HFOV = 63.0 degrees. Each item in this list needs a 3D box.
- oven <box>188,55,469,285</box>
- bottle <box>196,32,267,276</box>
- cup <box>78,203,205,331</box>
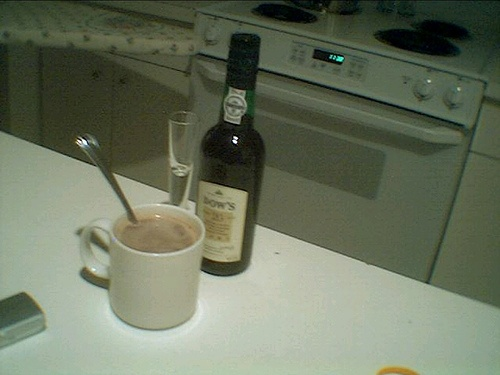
[{"bbox_3d":[0.237,-0.097,1.094,0.685,0.371,0.447,23,31,29],"label":"oven"},{"bbox_3d":[-0.031,-0.036,0.714,0.116,0.438,0.099,4,29,-7],"label":"bottle"},{"bbox_3d":[-0.170,0.127,0.682,0.181,0.181,0.130,24,32,31],"label":"cup"}]
